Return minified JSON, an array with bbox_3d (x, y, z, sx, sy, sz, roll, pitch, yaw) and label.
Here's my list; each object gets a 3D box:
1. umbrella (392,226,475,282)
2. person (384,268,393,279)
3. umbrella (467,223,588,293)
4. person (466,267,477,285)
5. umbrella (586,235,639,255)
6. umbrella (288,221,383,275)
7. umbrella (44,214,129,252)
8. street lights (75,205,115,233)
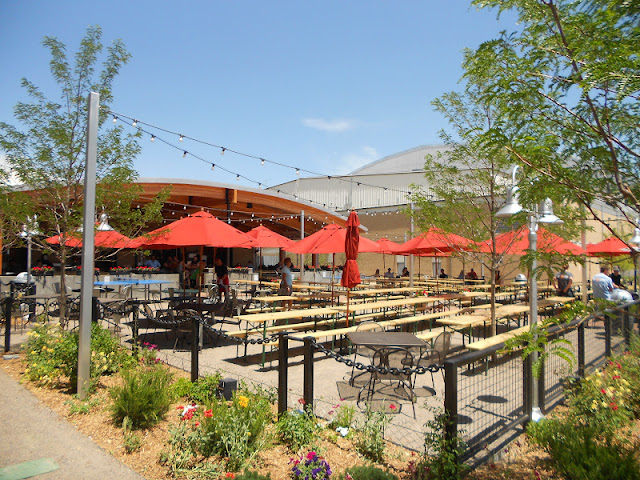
[{"bbox_3d":[4.354,0.712,19.013,2.911,1.351,2.902,4,-6,-39],"label":"umbrella"},{"bbox_3d":[3.559,1.739,26.083,0.356,0.786,0.399,9,13,33],"label":"person"},{"bbox_3d":[3.947,0.110,9.600,1.866,0.786,1.859,1,1,-26],"label":"umbrella"},{"bbox_3d":[6.700,1.600,22.250,0.498,1.175,0.355,-4,-23,13],"label":"person"},{"bbox_3d":[8.280,0.238,14.523,0.717,0.520,2.114,-2,-5,18],"label":"umbrella"},{"bbox_3d":[0.813,0.333,22.116,3.558,1.718,3.575,1,-2,8],"label":"umbrella"},{"bbox_3d":[-4.741,-0.030,10.600,1.078,0.528,1.088,1,-3,-5],"label":"umbrella"},{"bbox_3d":[-4.675,-0.435,10.648,0.488,0.490,0.486,4,-5,-35],"label":"street lights"}]
